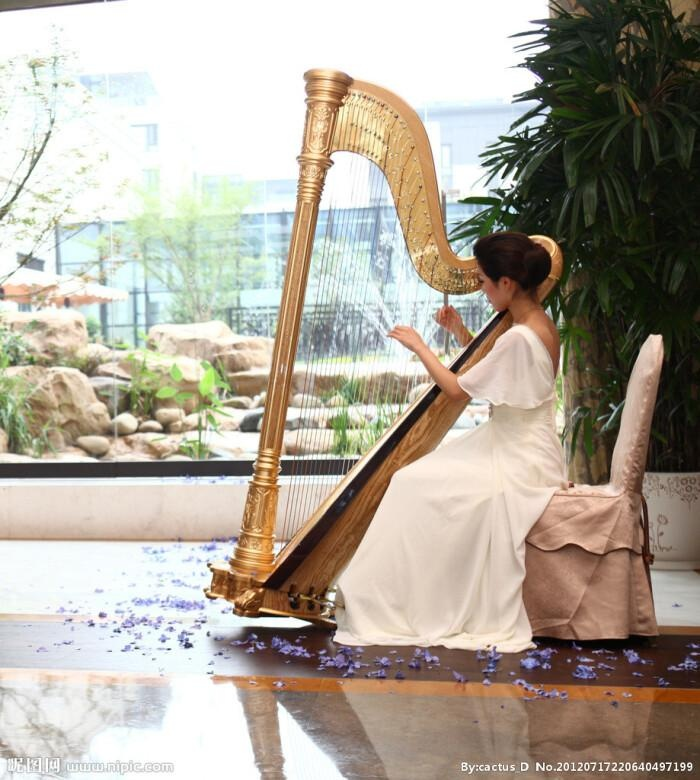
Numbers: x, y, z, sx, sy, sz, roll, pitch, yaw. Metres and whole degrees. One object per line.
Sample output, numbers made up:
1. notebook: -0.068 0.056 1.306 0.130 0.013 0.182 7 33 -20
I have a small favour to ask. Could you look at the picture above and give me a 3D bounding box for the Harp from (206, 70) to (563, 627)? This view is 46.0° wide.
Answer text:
1. Harp: -0.008 -0.096 2.500 0.847 1.625 0.357 0 1 -8
